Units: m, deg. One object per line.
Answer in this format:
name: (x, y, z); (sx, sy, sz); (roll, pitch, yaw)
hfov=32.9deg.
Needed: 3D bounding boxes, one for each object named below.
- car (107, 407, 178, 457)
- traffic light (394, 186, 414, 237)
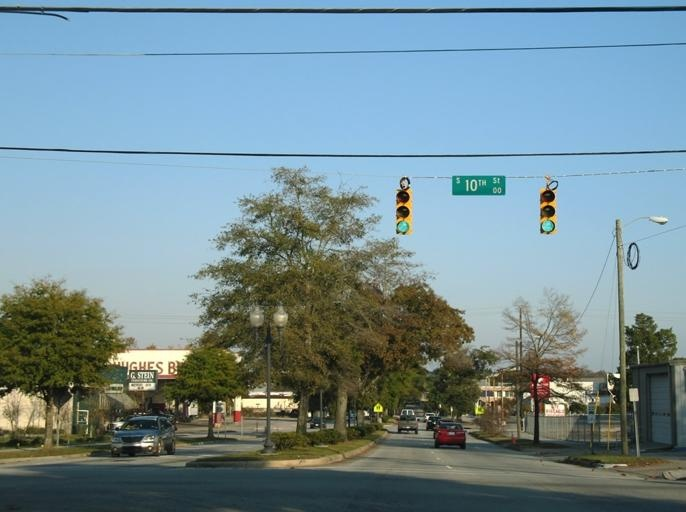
car: (-10.616, 9.329, 61.478); (2.869, 2.314, 3.064); (-1, -14, 6)
traffic light: (2.679, -2.111, 51.055); (0.640, 2.061, 0.304); (4, -14, -13)
